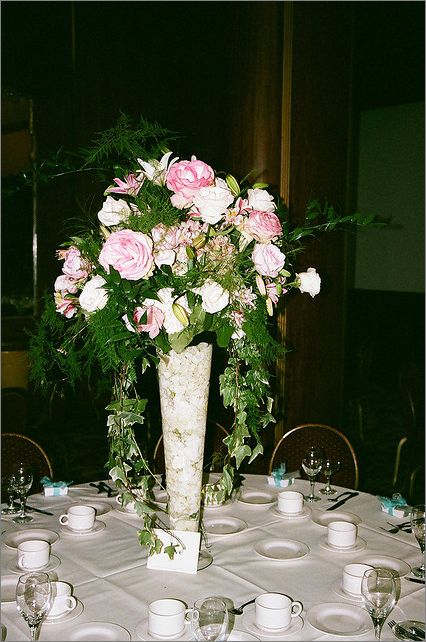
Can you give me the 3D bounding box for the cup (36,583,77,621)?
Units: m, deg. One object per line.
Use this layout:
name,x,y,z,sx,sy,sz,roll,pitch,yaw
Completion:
cup,-0.309,0.549,1.200,0.058,0.054,0.088,0,12,-21

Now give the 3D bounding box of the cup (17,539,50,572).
cup,-0.419,0.552,1.425,0.054,0.045,0.070,4,11,20

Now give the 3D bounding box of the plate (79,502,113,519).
plate,-0.350,0.585,1.867,0.070,0.009,0.067,0,4,-30

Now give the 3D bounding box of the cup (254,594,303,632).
cup,0.124,0.569,1.170,0.076,0.035,0.054,2,-7,-12

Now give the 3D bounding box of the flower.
flower,-0.063,0.051,1.503,0.601,0.624,0.531,-5,5,13

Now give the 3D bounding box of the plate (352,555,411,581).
plate,0.423,0.595,1.472,0.115,0.014,0.111,-2,-3,22

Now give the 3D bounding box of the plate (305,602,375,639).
plate,0.251,0.597,1.189,0.108,0.013,0.102,2,3,23

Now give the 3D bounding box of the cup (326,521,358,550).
cup,0.344,0.566,1.592,0.068,0.046,0.065,-2,-7,0

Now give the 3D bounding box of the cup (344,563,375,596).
cup,0.320,0.567,1.337,0.064,0.047,0.065,-1,-3,0

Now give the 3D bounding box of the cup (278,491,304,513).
cup,0.233,0.555,1.846,0.065,0.045,0.064,0,-5,0

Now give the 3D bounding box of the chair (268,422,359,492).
chair,0.449,0.571,2.631,0.339,0.418,0.312,0,-12,10

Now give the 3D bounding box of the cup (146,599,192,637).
cup,-0.083,0.563,1.138,0.067,0.045,0.049,12,-18,-42

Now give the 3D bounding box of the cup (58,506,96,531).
cup,-0.383,0.548,1.692,0.087,0.047,0.062,-2,11,-18
